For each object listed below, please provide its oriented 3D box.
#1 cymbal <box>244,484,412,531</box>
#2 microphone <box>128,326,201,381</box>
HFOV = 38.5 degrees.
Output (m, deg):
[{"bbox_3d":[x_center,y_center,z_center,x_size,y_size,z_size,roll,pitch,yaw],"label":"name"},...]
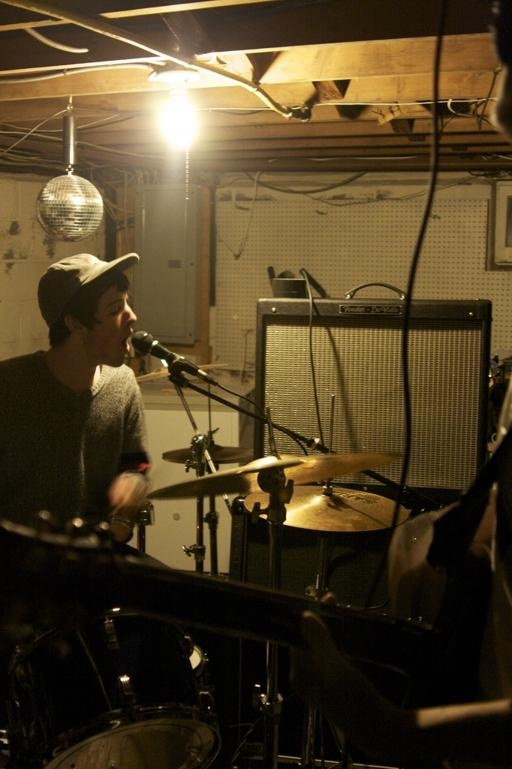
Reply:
[{"bbox_3d":[0.248,0.357,2.062,0.334,0.072,0.320,-1,13,-33],"label":"cymbal"},{"bbox_3d":[-0.429,-0.147,3.330,0.439,0.126,0.132,30,34,20],"label":"microphone"}]
